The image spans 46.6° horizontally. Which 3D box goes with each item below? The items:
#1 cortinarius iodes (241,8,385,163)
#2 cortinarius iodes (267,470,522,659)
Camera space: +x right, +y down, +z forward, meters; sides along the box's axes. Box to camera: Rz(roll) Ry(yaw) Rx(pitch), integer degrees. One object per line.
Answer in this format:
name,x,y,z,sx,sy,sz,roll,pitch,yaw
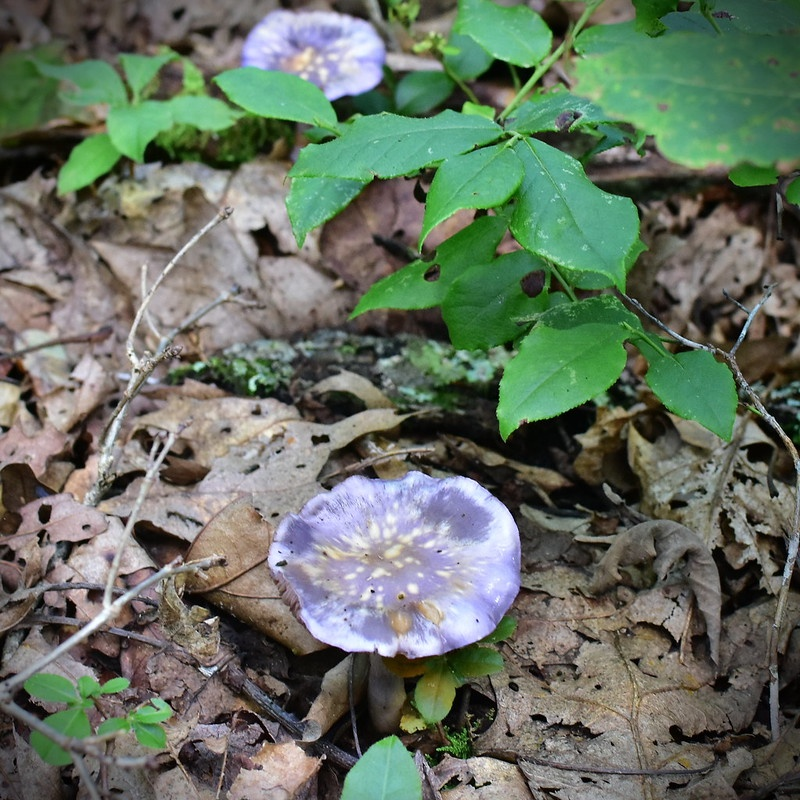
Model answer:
cortinarius iodes,-0.509,-1.669,4.933,1.033,0.186,0.829,-17,65,-19
cortinarius iodes,-0.013,0.547,3.187,0.851,0.269,0.648,1,72,0
